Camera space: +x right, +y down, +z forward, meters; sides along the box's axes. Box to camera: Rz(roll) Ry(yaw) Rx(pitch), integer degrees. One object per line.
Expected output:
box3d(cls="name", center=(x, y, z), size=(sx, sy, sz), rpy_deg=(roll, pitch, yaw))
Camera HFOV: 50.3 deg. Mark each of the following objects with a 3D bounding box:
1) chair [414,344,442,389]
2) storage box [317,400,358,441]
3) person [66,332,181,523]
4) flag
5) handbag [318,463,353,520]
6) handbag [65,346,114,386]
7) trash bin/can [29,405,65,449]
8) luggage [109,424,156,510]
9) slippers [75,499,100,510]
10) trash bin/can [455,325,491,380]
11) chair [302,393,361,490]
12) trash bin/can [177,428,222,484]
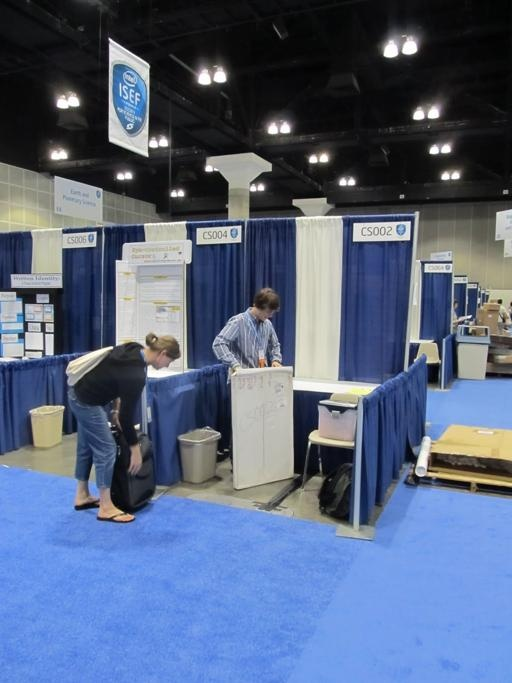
box3d(cls="chair", center=(2.758, 0.248, 8.658), size=(0.478, 0.872, 0.543), rpy_deg=(5, -5, 25))
box3d(cls="storage box", center=(0.527, 0.491, 3.513), size=(0.185, 0.236, 0.223), rpy_deg=(1, -1, 11))
box3d(cls="person", center=(-0.824, 0.512, 3.249), size=(0.584, 1.116, 0.685), rpy_deg=(-2, 5, -32))
box3d(cls="flag", center=(-0.919, -1.741, 3.917), size=(0.048, 0.688, 0.446), rpy_deg=(2, 4, 25))
box3d(cls="handbag", center=(0.509, 0.955, 3.398), size=(0.095, 0.329, 0.203), rpy_deg=(23, -3, -22))
box3d(cls="handbag", center=(-0.945, 0.155, 3.087), size=(0.270, 0.226, 0.129), rpy_deg=(2, 4, 10))
box3d(cls="trash bin/can", center=(-1.864, 0.781, 4.932), size=(0.220, 0.456, 0.426), rpy_deg=(1, 1, 4))
box3d(cls="luggage", center=(-0.763, 0.779, 3.398), size=(0.194, 0.508, 0.268), rpy_deg=(8, 12, 33))
box3d(cls="slippers", center=(-1.055, 1.036, 3.416), size=(0.111, 0.056, 0.069), rpy_deg=(1, -1, -16))
box3d(cls="trash bin/can", center=(3.833, 0.203, 9.620), size=(0.554, 0.900, 0.870), rpy_deg=(2, 4, 23))
box3d(cls="chair", center=(0.474, 0.668, 3.585), size=(0.311, 0.538, 0.380), rpy_deg=(10, -13, 14))
box3d(cls="trash bin/can", center=(-0.404, 0.786, 4.111), size=(0.243, 0.508, 0.369), rpy_deg=(1, 1, 22))
